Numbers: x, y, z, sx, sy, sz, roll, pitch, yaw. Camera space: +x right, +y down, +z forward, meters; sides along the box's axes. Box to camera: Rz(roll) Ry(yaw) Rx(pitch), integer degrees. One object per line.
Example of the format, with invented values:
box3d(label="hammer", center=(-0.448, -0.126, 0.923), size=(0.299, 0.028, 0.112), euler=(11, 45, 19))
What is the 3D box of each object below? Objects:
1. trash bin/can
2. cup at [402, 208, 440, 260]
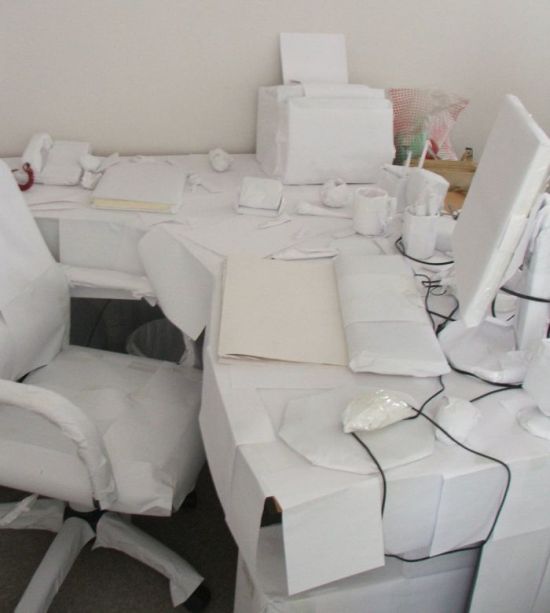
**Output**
box3d(label="trash bin/can", center=(-0.406, 0.106, 1.993), size=(0.219, 0.075, 0.171), euler=(4, 52, -10))
box3d(label="cup", center=(0.323, -0.174, 1.281), size=(0.117, 0.107, 0.083), euler=(6, 31, 10))
